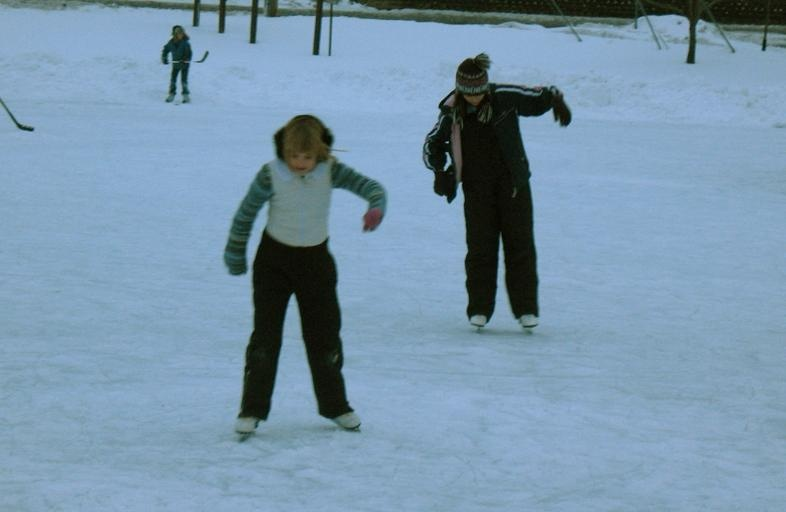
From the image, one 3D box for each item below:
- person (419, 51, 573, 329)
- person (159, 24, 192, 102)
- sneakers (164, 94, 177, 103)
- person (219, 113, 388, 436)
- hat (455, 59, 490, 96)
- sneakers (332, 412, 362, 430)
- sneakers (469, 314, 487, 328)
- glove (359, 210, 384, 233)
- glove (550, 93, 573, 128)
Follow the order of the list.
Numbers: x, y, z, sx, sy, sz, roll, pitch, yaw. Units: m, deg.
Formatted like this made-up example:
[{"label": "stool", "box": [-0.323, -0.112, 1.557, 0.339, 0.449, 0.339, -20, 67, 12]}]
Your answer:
[{"label": "person", "box": [0.958, -0.600, 10.991, 1.303, 2.677, 0.473, 1, 12, 5]}, {"label": "person", "box": [-4.178, -3.716, 22.000, 0.525, 1.465, 1.212, -2, 11, -11]}, {"label": "sneakers", "box": [-4.286, -3.043, 21.913, 0.230, 0.195, 0.136, 9, 14, 29]}, {"label": "person", "box": [-0.720, 0.171, 8.939, 1.166, 2.513, 0.340, -2, 12, -8]}, {"label": "hat", "box": [0.706, -1.716, 10.792, 0.383, 0.335, 0.337, -8, 37, 0]}, {"label": "sneakers", "box": [-0.363, 1.339, 9.126, 0.221, 0.076, 0.142, 11, 17, 42]}, {"label": "sneakers", "box": [0.831, 0.640, 11.107, 0.144, 0.121, 0.158, 2, -25, -3]}, {"label": "glove", "box": [-0.142, -0.283, 8.840, 0.158, 0.054, 0.199, 6, 34, 26]}, {"label": "glove", "box": [1.586, -1.389, 10.860, 0.215, 0.301, 0.118, -7, -16, -33]}]
